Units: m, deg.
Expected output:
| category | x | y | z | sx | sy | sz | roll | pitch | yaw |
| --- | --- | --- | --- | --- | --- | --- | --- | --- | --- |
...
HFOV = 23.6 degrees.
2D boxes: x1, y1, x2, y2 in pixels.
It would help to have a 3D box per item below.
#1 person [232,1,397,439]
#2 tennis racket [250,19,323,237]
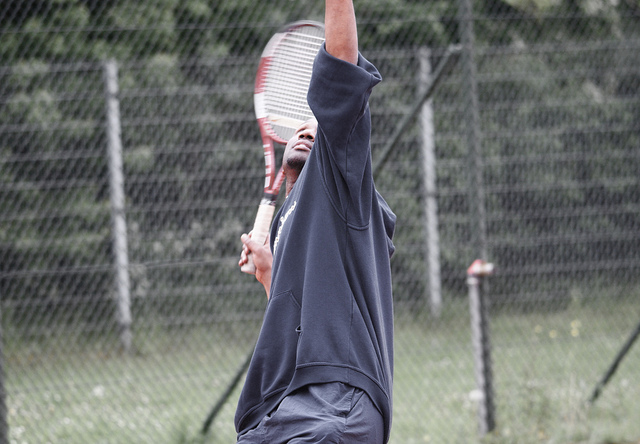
| category | x | y | z | sx | sy | sz | roll | pitch | yaw |
| --- | --- | --- | --- | --- | --- | --- | --- | --- | --- |
| person | 0.003 | 0.036 | 11.221 | 1.082 | 3.188 | 0.874 | 0 | 13 | 2 |
| tennis racket | -0.296 | -0.848 | 12.279 | 0.125 | 1.919 | 0.489 | 11 | -1 | 39 |
